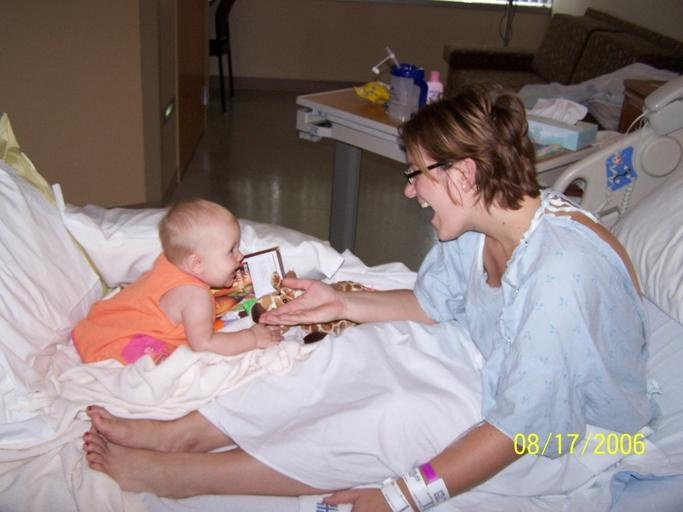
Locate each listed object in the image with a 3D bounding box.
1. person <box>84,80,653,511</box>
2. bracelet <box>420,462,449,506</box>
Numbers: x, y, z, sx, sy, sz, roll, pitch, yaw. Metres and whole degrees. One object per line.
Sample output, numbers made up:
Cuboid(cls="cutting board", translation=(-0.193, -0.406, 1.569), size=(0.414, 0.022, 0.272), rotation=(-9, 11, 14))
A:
Cuboid(cls="person", translation=(0.253, 0.083, 1.783), size=(1.705, 1.194, 0.995), rotation=(-8, 25, -4))
Cuboid(cls="bracelet", translation=(0.246, 0.600, 1.375), size=(0.027, 0.095, 0.088), rotation=(-21, 21, -24))
